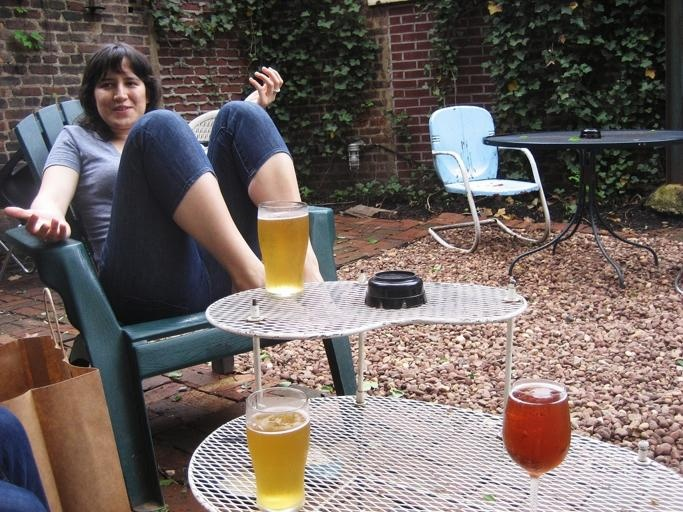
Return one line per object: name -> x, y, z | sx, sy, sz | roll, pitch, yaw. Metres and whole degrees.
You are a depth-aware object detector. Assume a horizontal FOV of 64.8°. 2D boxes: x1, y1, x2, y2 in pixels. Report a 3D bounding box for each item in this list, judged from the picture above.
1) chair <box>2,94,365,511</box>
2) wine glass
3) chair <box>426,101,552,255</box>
chair -> -0.668, 0.017, 2.082 | 1.150, 1.049, 1.346 | -9, 16, -40
wine glass -> 0.323, 0.282, 0.883 | 0.097, 0.143, 0.079 | -13, 17, -33
chair -> 1.079, -0.583, 4.040 | 0.806, 0.909, 0.837 | -15, 24, -26
